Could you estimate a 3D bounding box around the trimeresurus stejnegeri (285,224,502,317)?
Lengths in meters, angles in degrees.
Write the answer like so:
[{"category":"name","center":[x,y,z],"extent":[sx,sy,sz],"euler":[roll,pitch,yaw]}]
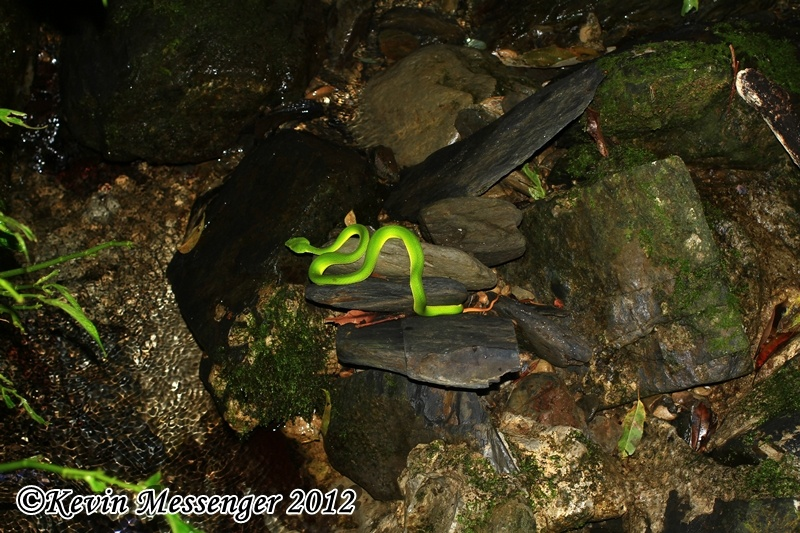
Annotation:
[{"category":"trimeresurus stejnegeri","center":[-0.215,-0.051,9.781],"extent":[2.088,0.240,1.042],"euler":[21,69,4]}]
